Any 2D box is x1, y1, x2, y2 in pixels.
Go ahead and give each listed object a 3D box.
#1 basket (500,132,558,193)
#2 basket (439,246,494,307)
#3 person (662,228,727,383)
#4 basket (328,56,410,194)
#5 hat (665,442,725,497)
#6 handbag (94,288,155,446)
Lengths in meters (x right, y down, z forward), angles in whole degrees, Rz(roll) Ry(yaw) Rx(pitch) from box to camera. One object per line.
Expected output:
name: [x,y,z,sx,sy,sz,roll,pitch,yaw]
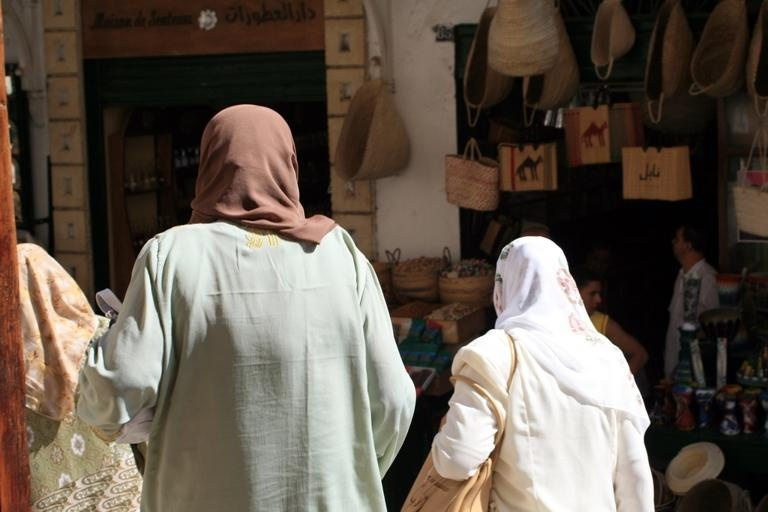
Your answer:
basket: [1.173,-0.749,9.466,0.530,0.363,0.098,-3,-1,32]
basket: [0.708,0.179,9.760,0.369,0.385,0.394,1,-5,0]
person: [2.520,0.369,9.438,0.536,1.230,0.334,-2,-1,32]
basket: [-0.041,-1.123,10.260,0.777,1.121,0.764,-2,6,-28]
hat: [2.275,1.549,8.394,0.427,0.379,0.200,-2,-1,17]
handbag: [-1.468,0.638,6.658,0.514,0.779,0.288,10,1,0]
